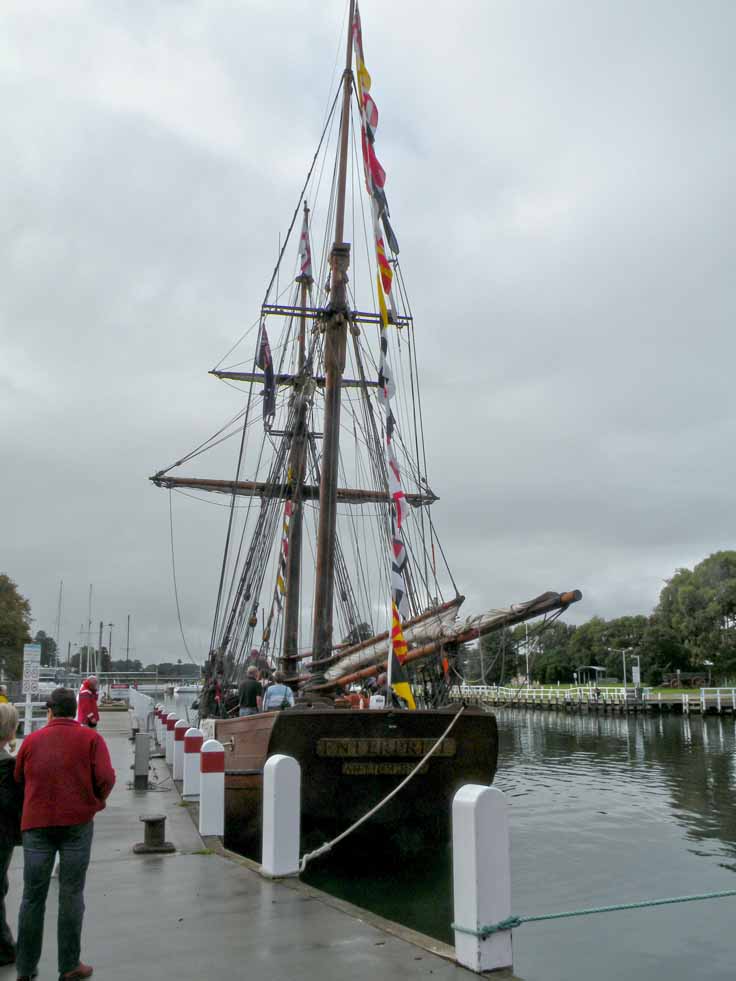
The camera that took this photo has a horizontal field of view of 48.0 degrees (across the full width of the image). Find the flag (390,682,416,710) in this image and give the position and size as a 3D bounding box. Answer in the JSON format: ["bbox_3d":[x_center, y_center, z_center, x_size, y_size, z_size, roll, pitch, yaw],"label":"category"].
[{"bbox_3d":[0.457,2.760,11.070,0.322,0.340,0.690,-1,-9,1],"label":"flag"}]
